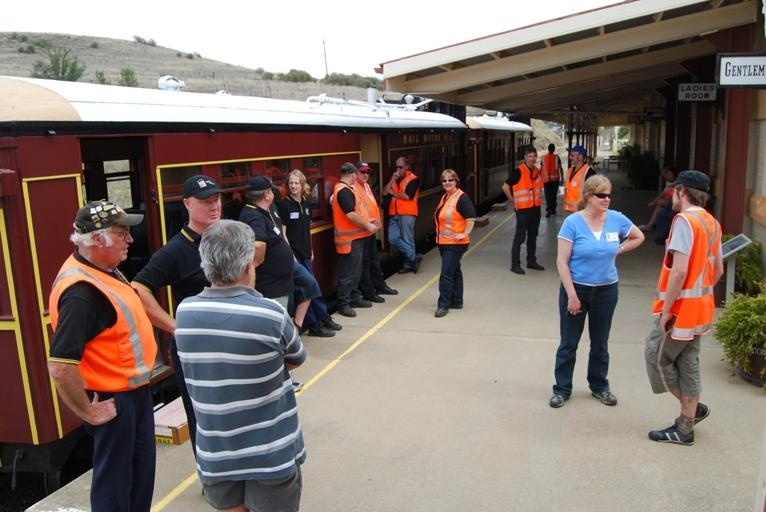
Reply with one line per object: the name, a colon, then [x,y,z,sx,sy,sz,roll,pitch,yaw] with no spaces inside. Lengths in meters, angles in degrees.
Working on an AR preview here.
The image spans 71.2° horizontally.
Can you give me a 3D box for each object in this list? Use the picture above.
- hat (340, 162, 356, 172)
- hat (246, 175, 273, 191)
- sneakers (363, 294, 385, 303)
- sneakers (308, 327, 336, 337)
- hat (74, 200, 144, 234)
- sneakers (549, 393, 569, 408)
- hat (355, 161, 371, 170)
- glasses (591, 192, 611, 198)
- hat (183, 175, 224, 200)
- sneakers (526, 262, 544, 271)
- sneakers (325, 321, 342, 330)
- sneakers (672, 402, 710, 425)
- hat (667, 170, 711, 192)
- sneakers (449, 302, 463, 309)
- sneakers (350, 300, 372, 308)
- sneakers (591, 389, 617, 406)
hat: [-0.526,-1.467,8.868,0.170,0.107,0.234,1,14,20]
hat: [-1.443,-0.874,6.397,0.173,0.133,0.240,7,20,27]
sneakers: [-0.165,0.780,9.800,0.420,0.172,0.144,-2,5,8]
sneakers: [-0.948,1.166,8.239,0.333,0.144,0.173,0,5,5]
hat: [-2.006,-0.320,3.959,0.409,0.176,0.260,-6,15,-31]
sneakers: [1.984,1.634,6.044,0.108,0.133,0.307,-3,-5,33]
hat: [-0.374,-1.571,9.480,0.232,0.181,0.324,-2,9,-32]
glasses: [2.292,-0.635,5.560,0.202,0.066,0.085,-6,15,-15]
hat: [-1.519,-0.571,4.556,0.266,0.143,0.199,-12,6,38]
sneakers: [3.304,0.213,11.627,0.384,0.275,0.153,2,9,17]
sneakers: [-0.749,1.087,8.427,0.312,0.134,0.107,2,12,10]
sneakers: [3.256,1.625,5.621,0.560,0.261,0.188,-5,-4,-42]
hat: [3.027,-0.751,5.369,0.279,0.188,0.379,12,8,0]
sneakers: [1.289,0.868,9.341,0.100,0.105,0.161,-1,-1,18]
sneakers: [-0.371,0.849,9.502,0.369,0.152,0.137,-2,5,3]
sneakers: [2.533,1.604,6.142,0.118,0.126,0.274,-7,9,-29]
